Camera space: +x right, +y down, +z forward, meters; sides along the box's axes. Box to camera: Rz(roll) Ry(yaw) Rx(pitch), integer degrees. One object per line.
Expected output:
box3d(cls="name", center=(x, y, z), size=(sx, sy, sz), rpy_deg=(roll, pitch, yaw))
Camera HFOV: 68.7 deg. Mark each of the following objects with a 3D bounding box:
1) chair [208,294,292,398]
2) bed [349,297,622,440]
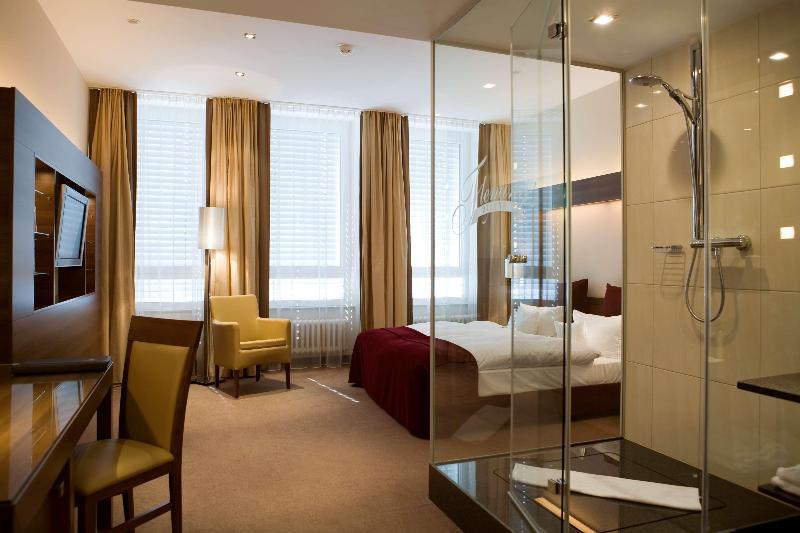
box3d(cls="chair", center=(-1.608, 0.850, 6.591), size=(0.937, 1.263, 0.951), rpy_deg=(2, -4, -37))
box3d(cls="bed", center=(0.653, 0.770, 4.186), size=(1.119, 0.505, 1.167), rpy_deg=(4, -5, -15))
